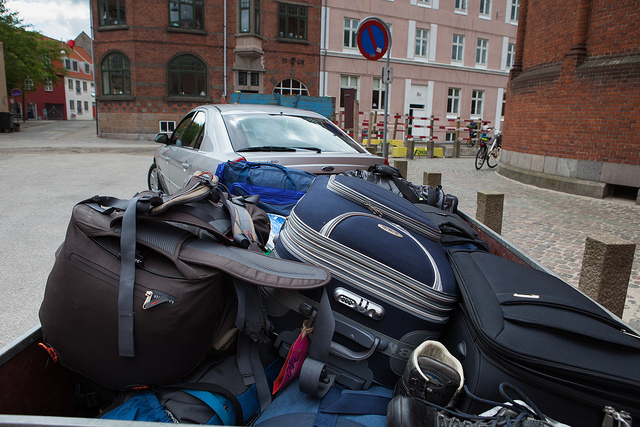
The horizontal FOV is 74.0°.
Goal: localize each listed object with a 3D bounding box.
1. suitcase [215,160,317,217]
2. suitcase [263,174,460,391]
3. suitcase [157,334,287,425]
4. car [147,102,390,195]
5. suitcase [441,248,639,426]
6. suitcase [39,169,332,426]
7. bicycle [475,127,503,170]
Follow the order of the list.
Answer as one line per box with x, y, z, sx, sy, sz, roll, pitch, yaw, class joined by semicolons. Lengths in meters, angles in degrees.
-0.524;-0.281;3.694;0.689;0.290;0.485;15;28;10;suitcase
0.261;0.356;2.601;1.011;0.817;1.042;25;13;-6;suitcase
-0.498;0.937;2.278;0.610;0.225;0.453;-27;56;-34;suitcase
-1.000;-1.109;5.310;1.482;1.050;3.009;-3;21;-36;car
1.087;0.626;2.097;0.781;0.292;0.608;24;8;16;suitcase
-0.840;0.414;2.336;1.368;1.009;0.526;0;16;-4;suitcase
5.889;-2.417;14.891;0.927;1.248;1.996;-5;-9;10;bicycle
